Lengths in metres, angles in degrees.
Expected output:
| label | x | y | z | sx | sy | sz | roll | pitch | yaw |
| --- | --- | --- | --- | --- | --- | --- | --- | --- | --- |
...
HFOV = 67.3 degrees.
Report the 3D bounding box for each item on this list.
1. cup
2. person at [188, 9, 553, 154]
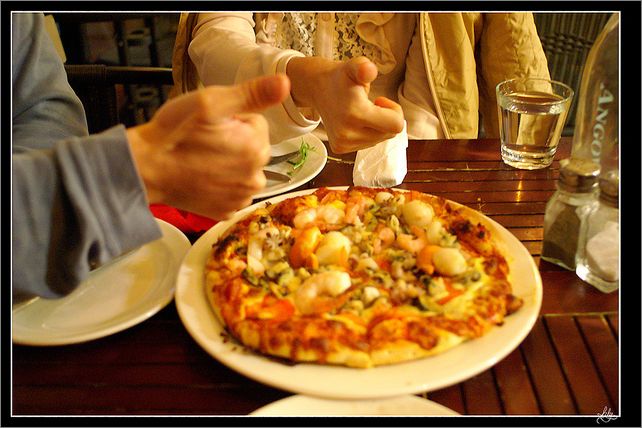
| label | x | y | z | sx | sy | sz | roll | pitch | yaw |
| --- | --- | --- | --- | --- | --- | --- | --- | --- | --- |
| cup | 0.723 | -0.302 | 1.626 | 0.240 | 0.263 | 0.235 | -2 | 30 | 1 |
| person | 0.107 | -0.672 | 2.225 | 1.503 | 0.631 | 0.733 | -4 | 16 | -7 |
